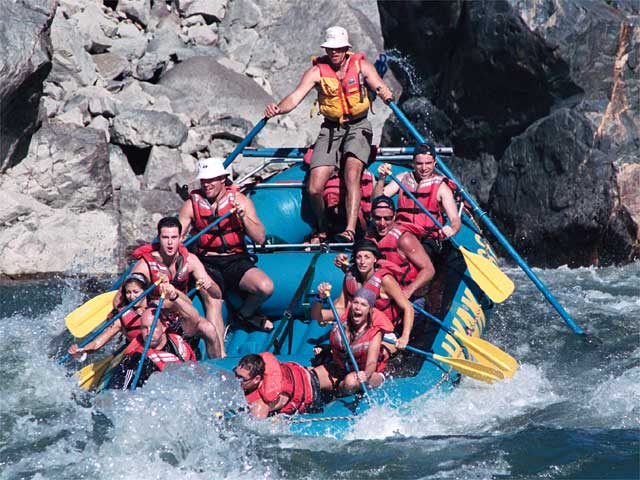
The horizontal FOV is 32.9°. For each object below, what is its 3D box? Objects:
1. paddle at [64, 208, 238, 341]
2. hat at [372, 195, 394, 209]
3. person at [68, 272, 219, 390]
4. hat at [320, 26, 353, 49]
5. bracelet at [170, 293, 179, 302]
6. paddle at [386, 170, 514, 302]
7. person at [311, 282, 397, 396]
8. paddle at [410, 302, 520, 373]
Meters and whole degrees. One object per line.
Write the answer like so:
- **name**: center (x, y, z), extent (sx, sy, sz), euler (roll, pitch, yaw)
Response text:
- **paddle**: center (-2.168, 0.491, 14.029), extent (2.531, 0.109, 0.362), euler (-41, 59, -1)
- **hat**: center (0.823, -0.472, 13.446), extent (0.255, 0.148, 0.227), euler (5, 45, -1)
- **person**: center (-1.998, 1.054, 12.864), extent (1.147, 0.740, 1.556), euler (1, 22, 4)
- **hat**: center (0.250, -2.620, 13.999), extent (0.278, 0.233, 0.386), euler (0, 9, 10)
- **bracelet**: center (-1.682, 0.680, 12.698), extent (0.085, 0.065, 0.087), euler (1, 7, -9)
- **paddle**: center (1.835, 0.142, 13.778), extent (0.309, 0.079, 1.706), euler (-44, 62, 3)
- **person**: center (0.464, 1.201, 12.777), extent (0.771, 1.120, 0.931), euler (18, 25, 29)
- **paddle**: center (1.730, 1.200, 13.339), extent (1.662, 0.177, 0.523), euler (34, 84, 38)
